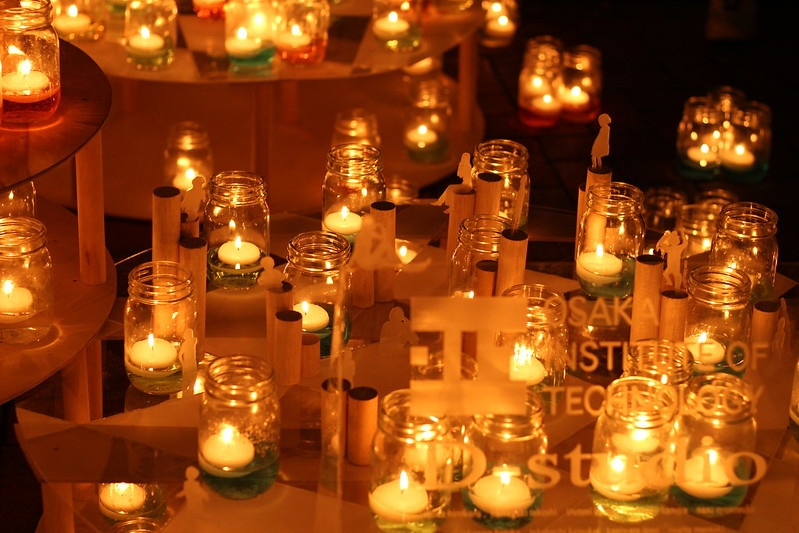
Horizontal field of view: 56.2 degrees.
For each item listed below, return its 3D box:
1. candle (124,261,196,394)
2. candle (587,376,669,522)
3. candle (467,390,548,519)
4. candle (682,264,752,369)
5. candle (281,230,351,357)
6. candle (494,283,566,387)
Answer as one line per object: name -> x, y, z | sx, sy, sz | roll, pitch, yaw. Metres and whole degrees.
candle -> -0.425, 0.111, 1.329 | 0.124, 0.237, 0.154 | 2, 1, -18
candle -> 0.359, 0.291, 1.169 | 0.137, 0.191, 0.124 | 3, 9, -3
candle -> 0.156, 0.288, 1.108 | 0.113, 0.158, 0.049 | 3, 1, 8
candle -> 0.560, 0.094, 1.313 | 0.106, 0.178, 0.122 | 3, 1, 23
candle -> -0.149, 0.055, 1.330 | 0.132, 0.200, 0.133 | 21, 40, 26
candle -> 0.200, 0.111, 1.145 | 0.139, 0.176, 0.128 | -1, 26, 2
